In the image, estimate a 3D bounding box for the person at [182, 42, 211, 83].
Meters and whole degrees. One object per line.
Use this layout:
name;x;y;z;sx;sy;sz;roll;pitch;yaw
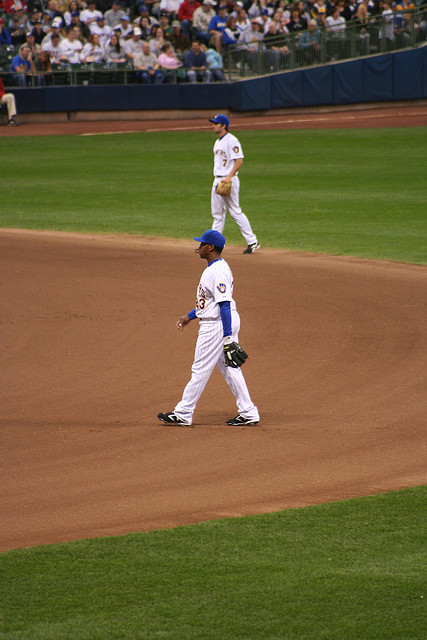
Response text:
person;-0.474;-6.890;26.910;0.552;1.024;0.802;4;13;24

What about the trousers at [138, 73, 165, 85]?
trousers;-1.633;-6.354;26.438;0.664;0.272;0.339;-6;12;-28

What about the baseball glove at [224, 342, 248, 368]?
baseball glove;0.145;0.231;6.634;0.143;0.198;0.162;0;12;4

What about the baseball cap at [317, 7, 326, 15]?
baseball cap;3.324;-9.410;30.608;0.318;0.191;0.280;1;2;10

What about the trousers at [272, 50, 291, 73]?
trousers;1.958;-7.332;28.441;0.607;0.601;0.089;-6;14;-24

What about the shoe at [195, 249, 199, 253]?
shoe;-0.196;-0.837;12.144;0.007;0.027;0.029;-5;37;49

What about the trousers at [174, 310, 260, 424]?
trousers;-0.006;0.342;6.960;0.458;0.799;0.426;6;15;31

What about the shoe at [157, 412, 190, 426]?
shoe;-0.309;0.683;7.081;0.253;0.094;0.083;17;-4;-5

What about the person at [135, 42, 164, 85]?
person;-1.686;-6.722;26.257;0.673;1.121;0.647;-22;50;-21

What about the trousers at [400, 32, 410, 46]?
trousers;5.686;-8.265;29.551;0.150;0.382;0.403;9;15;39

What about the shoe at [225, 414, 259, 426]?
shoe;0.211;0.707;7.129;0.236;0.086;0.077;6;2;4

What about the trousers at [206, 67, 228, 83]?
trousers;0.064;-6.675;27.352;0.697;0.272;0.858;2;3;-1

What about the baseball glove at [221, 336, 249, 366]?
baseball glove;0.143;0.199;6.655;0.178;0.194;0.096;13;22;1

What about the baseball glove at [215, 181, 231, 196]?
baseball glove;0.115;-1.538;11.742;0.164;0.171;0.238;-2;11;-4

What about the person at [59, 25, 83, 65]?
person;-3.662;-7.042;25.779;0.729;0.842;0.430;-6;13;-22

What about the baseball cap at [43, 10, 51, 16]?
baseball cap;-4.373;-8.079;26.333;0.231;0.201;0.275;-5;9;-11

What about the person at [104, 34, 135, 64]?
person;-2.475;-7.023;26.136;0.917;0.740;0.598;-11;19;-28

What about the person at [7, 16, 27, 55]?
person;-5.029;-7.270;25.620;0.445;1.034;0.976;-4;12;-10

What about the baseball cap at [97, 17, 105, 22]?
baseball cap;-2.951;-7.838;26.190;0.171;0.111;0.271;-2;10;-7

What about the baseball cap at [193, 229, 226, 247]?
baseball cap;-0.028;-0.549;6.748;0.204;0.083;0.114;4;7;6

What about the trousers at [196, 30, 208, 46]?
trousers;-0.325;-7.924;28.143;0.369;0.386;0.194;2;13;15
